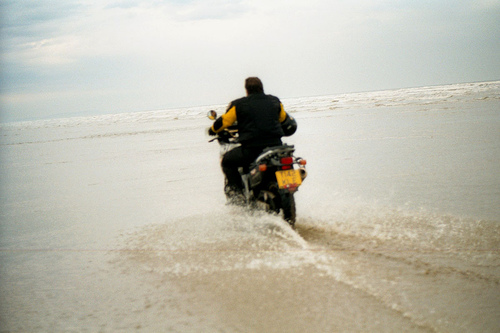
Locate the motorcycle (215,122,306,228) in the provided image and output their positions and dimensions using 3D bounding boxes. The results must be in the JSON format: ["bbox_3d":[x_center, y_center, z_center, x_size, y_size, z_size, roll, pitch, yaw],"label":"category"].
[{"bbox_3d":[0.518,0.166,8.412,1.114,1.577,2.469,-10,16,-21],"label":"motorcycle"}]
